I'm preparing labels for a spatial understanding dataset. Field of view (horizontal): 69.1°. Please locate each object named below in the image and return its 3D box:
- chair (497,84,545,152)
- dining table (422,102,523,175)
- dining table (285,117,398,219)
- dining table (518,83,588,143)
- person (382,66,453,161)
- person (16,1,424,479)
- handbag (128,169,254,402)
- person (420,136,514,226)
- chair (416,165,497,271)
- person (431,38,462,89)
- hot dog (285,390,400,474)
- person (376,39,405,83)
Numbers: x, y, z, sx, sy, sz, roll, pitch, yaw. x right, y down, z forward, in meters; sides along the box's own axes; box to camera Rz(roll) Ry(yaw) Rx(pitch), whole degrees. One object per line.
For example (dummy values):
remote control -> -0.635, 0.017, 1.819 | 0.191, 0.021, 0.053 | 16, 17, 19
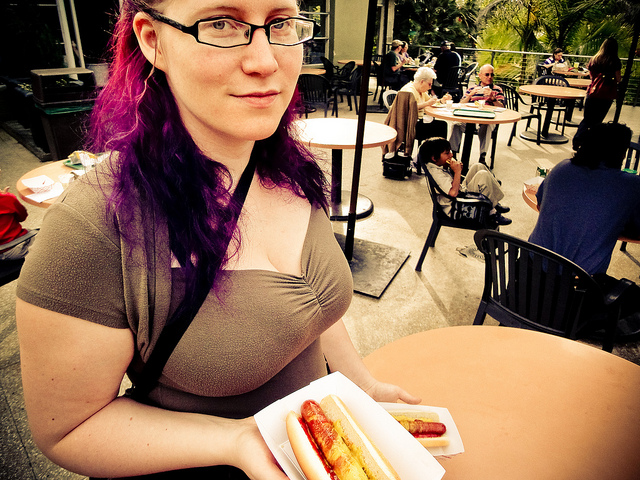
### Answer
chair -> 3.681, -2.337, 8.627 | 0.658, 0.950, 0.689 | 9, 21, 12
dining table -> 2.156, -1.720, 6.317 | 1.171, 0.918, 1.212 | 21, 43, 29
dining table -> 0.199, -0.732, 4.948 | 1.053, 0.773, 1.119 | 7, 22, 19
dining table -> 4.194, -2.299, 8.552 | 1.146, 0.910, 1.171 | -9, 23, -14
person -> 1.446, -1.727, 6.555 | 0.712, 1.306, 0.628 | -6, 31, 1
person -> -0.296, -0.026, 1.201 | 0.894, 1.122, 0.666 | -14, 27, -38
handbag -> -0.338, 0.131, 1.179 | 0.066, 0.654, 0.073 | 12, -17, 48
person -> 1.596, -0.638, 5.078 | 0.733, 1.226, 0.647 | -18, 42, 31
chair -> 1.298, -0.323, 4.723 | 0.776, 1.173, 0.794 | 0, 24, 14
person -> 2.763, -3.682, 10.004 | 0.506, 1.133, 0.610 | 1, 8, 16
hot dog -> 0.028, 0.465, 1.084 | 0.127, 0.083, 0.249 | -15, 36, -23
person -> 1.805, -4.116, 11.104 | 0.641, 1.171, 0.587 | 6, 18, 8
